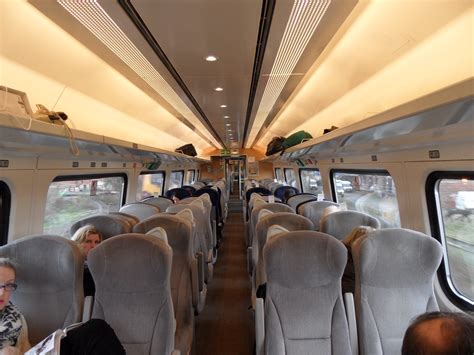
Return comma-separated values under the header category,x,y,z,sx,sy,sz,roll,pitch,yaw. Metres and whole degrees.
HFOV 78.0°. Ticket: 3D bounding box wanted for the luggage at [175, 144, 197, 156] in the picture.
category,x,y,z,sx,sy,sz,roll,pitch,yaw
luggage,-1.710,-0.864,9.995,0.658,0.208,0.446,-5,24,-22
